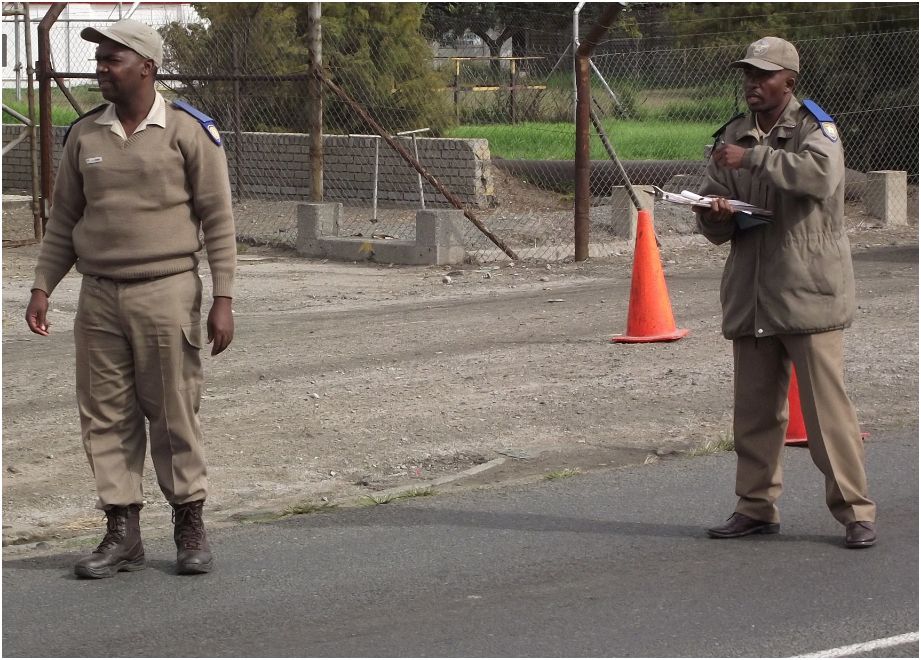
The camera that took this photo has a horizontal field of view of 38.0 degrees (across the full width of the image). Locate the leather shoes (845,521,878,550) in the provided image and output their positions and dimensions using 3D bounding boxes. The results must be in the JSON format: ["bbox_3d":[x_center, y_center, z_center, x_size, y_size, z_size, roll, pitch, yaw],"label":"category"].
[{"bbox_3d":[2.284,1.161,7.513,0.208,0.154,0.123,-1,15,-3],"label":"leather shoes"}]

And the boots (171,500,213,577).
[{"bbox_3d":[-1.490,1.131,7.336,0.203,0.366,0.457,-5,14,-8],"label":"boots"}]

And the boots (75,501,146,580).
[{"bbox_3d":[-1.925,1.151,7.258,0.220,0.379,0.471,-2,-1,29],"label":"boots"}]

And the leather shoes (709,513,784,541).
[{"bbox_3d":[1.646,1.156,7.726,0.436,0.150,0.152,1,-2,-5],"label":"leather shoes"}]

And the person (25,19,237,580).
[{"bbox_3d":[-1.777,-0.167,7.261,1.100,2.949,0.921,-3,16,-9],"label":"person"}]

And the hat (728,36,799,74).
[{"bbox_3d":[1.711,-1.522,7.464,0.333,0.133,0.222,3,5,-20],"label":"hat"}]

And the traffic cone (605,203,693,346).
[{"bbox_3d":[1.739,-0.468,12.065,0.663,1.189,0.694,3,16,12],"label":"traffic cone"}]

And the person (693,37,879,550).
[{"bbox_3d":[1.846,-0.192,7.527,0.713,2.824,1.202,-14,21,-40],"label":"person"}]

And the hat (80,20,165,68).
[{"bbox_3d":[-1.806,-1.589,7.256,0.308,0.188,0.434,16,-5,41],"label":"hat"}]
